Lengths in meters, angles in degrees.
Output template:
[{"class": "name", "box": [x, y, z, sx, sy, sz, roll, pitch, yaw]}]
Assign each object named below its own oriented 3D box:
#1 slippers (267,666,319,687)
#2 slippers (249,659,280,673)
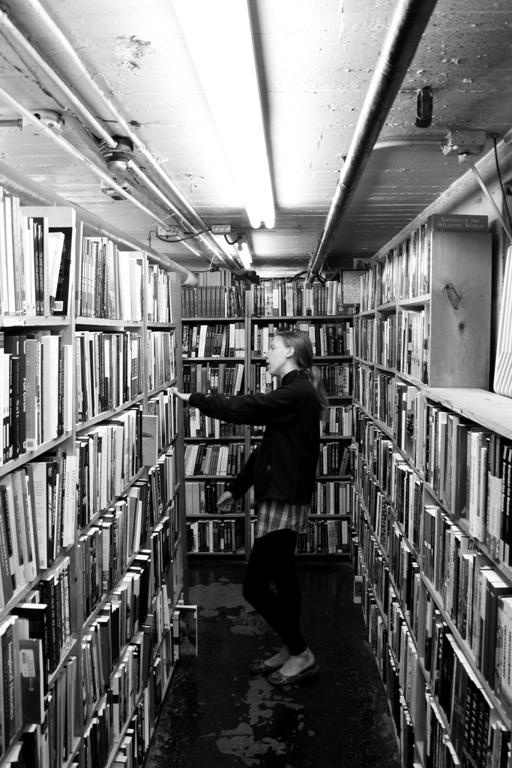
[{"class": "slippers", "box": [0.185, 1.410, 2.883, 0.218, 0.053, 0.096, 0, -6, -27]}, {"class": "slippers", "box": [0.033, 1.425, 2.958, 0.129, 0.041, 0.066, 4, -4, -8]}]
